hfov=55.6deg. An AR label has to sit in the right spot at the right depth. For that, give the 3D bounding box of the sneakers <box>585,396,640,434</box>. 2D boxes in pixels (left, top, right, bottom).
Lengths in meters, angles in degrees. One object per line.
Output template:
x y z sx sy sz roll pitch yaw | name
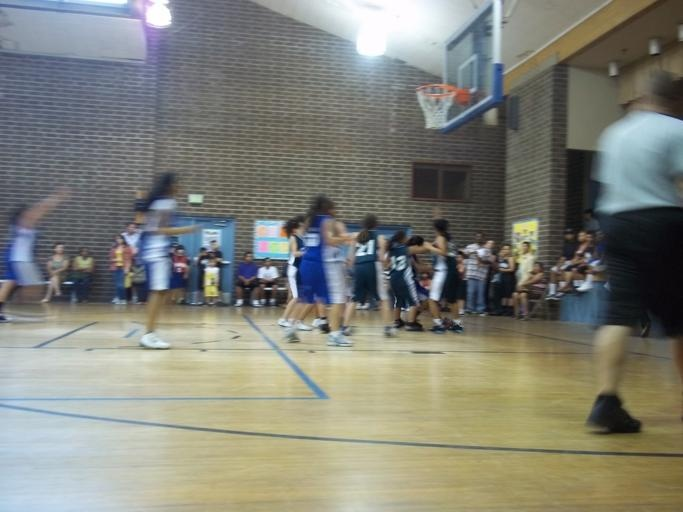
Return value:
1.492 0.846 3.403 0.411 0.166 0.129 4 -1 -21 | sneakers

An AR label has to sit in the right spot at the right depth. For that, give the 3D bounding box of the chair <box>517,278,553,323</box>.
3.358 0.775 11.087 0.780 0.761 0.551 1 -3 -2 | chair

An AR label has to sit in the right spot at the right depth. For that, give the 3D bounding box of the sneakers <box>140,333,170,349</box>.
-1.677 0.776 5.850 0.271 0.087 0.130 3 1 0 | sneakers

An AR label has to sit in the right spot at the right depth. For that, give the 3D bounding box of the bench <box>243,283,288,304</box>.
-1.506 0.765 12.988 0.642 0.587 0.530 1 -9 -1 | bench

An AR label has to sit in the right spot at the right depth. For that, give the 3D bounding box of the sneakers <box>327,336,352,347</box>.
-0.030 0.849 6.376 0.249 0.081 0.090 1 -1 -5 | sneakers
